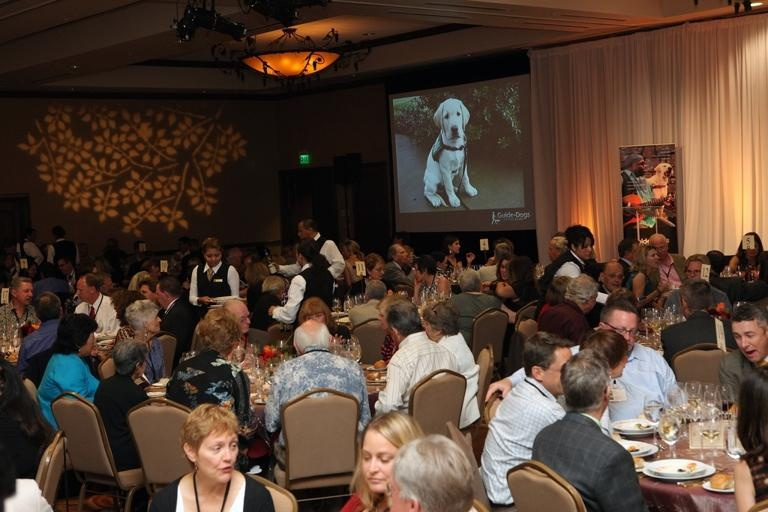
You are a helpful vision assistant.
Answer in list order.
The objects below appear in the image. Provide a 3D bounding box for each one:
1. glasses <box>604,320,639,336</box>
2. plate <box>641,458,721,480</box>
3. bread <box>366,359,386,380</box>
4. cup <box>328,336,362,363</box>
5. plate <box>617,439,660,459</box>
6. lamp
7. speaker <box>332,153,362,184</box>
[{"bbox_3d":[1.893,0.591,4.843,0.178,0.061,0.183,5,5,-28],"label":"glasses"},{"bbox_3d":[1.774,1.298,3.630,0.409,0.058,0.261,-4,1,-10],"label":"plate"},{"bbox_3d":[-0.081,1.137,5.912,0.206,0.089,0.240,0,-3,-2],"label":"bread"},{"bbox_3d":[-0.375,0.889,5.732,0.235,0.279,0.250,-1,-5,0],"label":"cup"},{"bbox_3d":[1.587,1.218,3.744,0.238,0.036,0.244,1,5,43],"label":"plate"},{"bbox_3d":[-1.923,-4.245,12.765,2.209,0.968,2.246,-1,-2,-31],"label":"lamp"},{"bbox_3d":[-0.898,-2.183,15.725,0.915,0.976,0.669,1,2,28],"label":"speaker"}]
